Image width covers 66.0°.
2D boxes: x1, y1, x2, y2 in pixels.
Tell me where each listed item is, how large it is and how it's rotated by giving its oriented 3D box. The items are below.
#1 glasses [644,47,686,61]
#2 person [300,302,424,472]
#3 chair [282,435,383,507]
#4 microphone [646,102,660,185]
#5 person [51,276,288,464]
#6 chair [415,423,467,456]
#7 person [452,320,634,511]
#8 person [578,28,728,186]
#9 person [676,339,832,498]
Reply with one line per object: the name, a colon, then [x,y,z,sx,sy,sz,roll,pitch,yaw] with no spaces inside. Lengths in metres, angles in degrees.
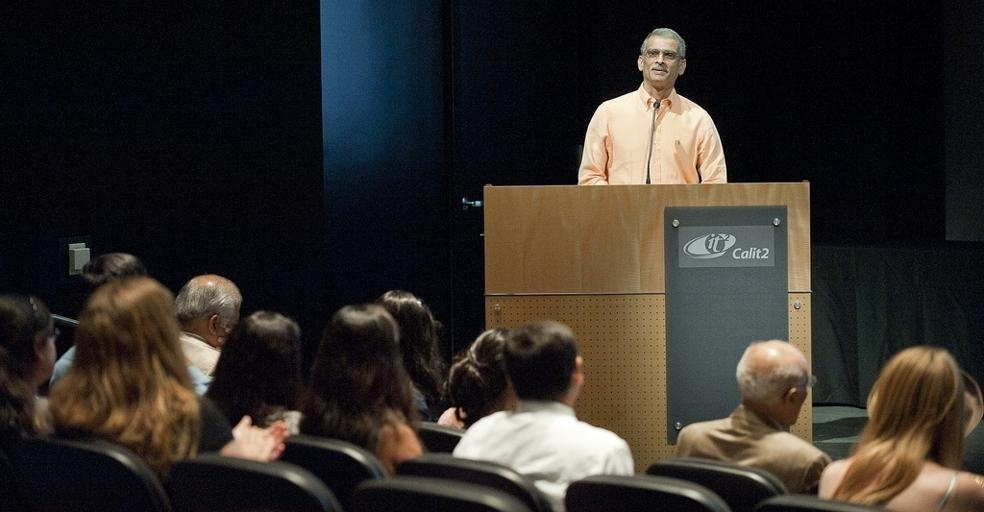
glasses: [1.317,-1.543,5.806,0.295,0.084,0.083,1,-1,-2]
person: [-0.677,0.731,4.064,0.801,0.818,0.555,6,10,16]
chair: [-0.792,1.054,3.663,0.325,0.410,0.265,7,6,28]
microphone: [1.214,-0.878,5.727,0.094,0.635,0.178,1,-1,11]
person: [-1.696,0.632,3.992,0.741,1.083,0.701,7,17,20]
chair: [-0.292,0.980,4.201,0.202,0.222,0.174,-5,8,-35]
person: [0.266,0.846,4.000,1.090,0.844,0.541,2,5,16]
person: [1.217,-1.145,5.816,1.077,1.195,0.332,1,-1,4]
person: [1.526,0.925,4.306,0.641,0.804,0.987,4,-1,-31]
